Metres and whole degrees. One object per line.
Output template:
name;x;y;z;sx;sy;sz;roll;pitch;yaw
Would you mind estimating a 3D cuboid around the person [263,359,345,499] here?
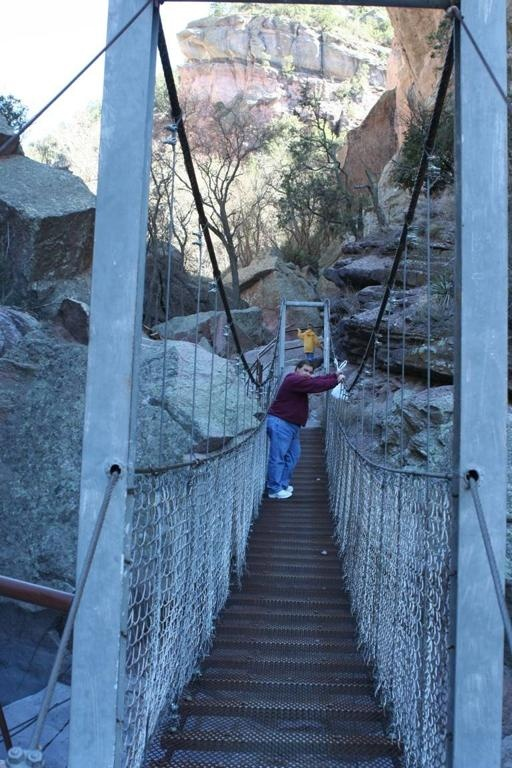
person;0.289;0.334;5.285;0.438;0.985;1.272;0;-1;-2
